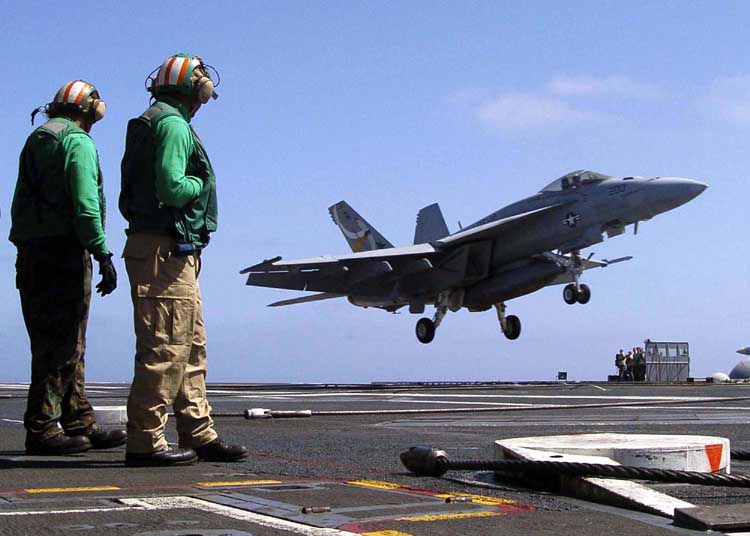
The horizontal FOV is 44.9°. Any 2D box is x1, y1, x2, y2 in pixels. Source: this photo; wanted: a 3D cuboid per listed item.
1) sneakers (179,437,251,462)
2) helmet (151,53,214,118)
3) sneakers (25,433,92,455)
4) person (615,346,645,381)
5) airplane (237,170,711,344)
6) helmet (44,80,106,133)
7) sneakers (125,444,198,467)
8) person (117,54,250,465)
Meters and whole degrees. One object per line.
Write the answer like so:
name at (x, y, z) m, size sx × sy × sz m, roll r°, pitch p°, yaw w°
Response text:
sneakers at (-1.055, 1.230, 6.116) m, size 0.516 × 0.174 × 0.159 m, roll -2°, pitch 3°, yaw -4°
helmet at (-1.394, -1.313, 6.428) m, size 0.486 × 0.344 × 0.462 m, roll 13°, pitch 19°, yaw 17°
sneakers at (-2.248, 1.236, 6.516) m, size 0.479 × 0.161 × 0.156 m, roll -2°, pitch 1°, yaw -11°
person at (9.747, 3.625, 34.312) m, size 1.019 × 1.139 × 2.055 m, roll -1°, pitch -6°, yaw 12°
airplane at (3.376, -0.548, 25.764) m, size 7.700 × 2.341 × 7.372 m, roll -17°, pitch -3°, yaw 35°
helmet at (-2.290, -1.239, 6.885) m, size 0.398 × 0.295 × 0.320 m, roll 14°, pitch -5°, yaw -4°
sneakers at (-1.398, 1.223, 5.994) m, size 0.475 × 0.152 × 0.152 m, roll -3°, pitch 0°, yaw -12°
person at (-1.353, -0.092, 6.138) m, size 0.744 × 2.774 × 0.453 m, roll 5°, pitch -9°, yaw -27°
